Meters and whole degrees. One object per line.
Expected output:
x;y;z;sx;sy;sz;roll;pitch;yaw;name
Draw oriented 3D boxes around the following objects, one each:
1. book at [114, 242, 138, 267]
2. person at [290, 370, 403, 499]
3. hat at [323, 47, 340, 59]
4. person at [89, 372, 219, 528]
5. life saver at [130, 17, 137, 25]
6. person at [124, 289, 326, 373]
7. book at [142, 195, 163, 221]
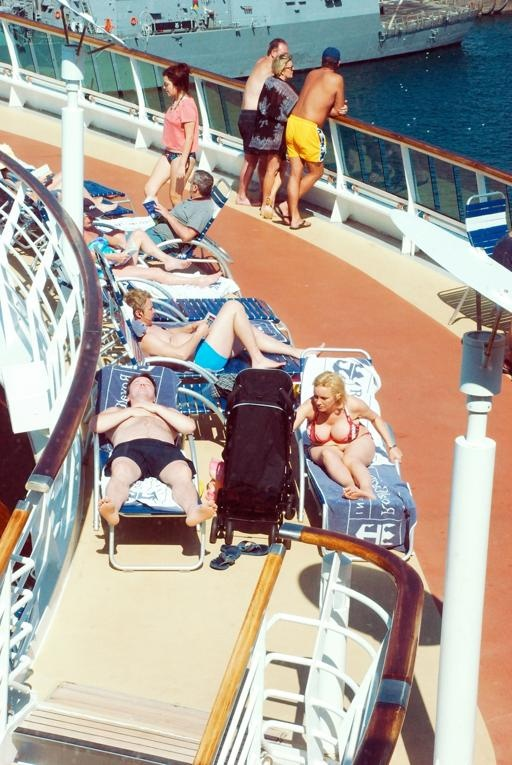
-1.298;-1.271;6.816;0.176;0.233;0.085;-1;-32;34;book
0.590;0.367;4.356;0.626;0.448;0.819;-7;37;-4;person
0.875;-3.846;7.981;0.184;0.139;0.274;5;29;0;hat
-0.700;0.455;4.291;0.519;0.292;1.153;-2;34;-10;person
-4.929;-14.374;26.908;0.336;0.310;0.064;-1;23;1;life saver
-0.251;-0.346;5.466;1.558;0.726;0.630;-2;25;1;person
-1.111;-1.873;7.369;0.233;0.237;0.059;26;58;38;book
